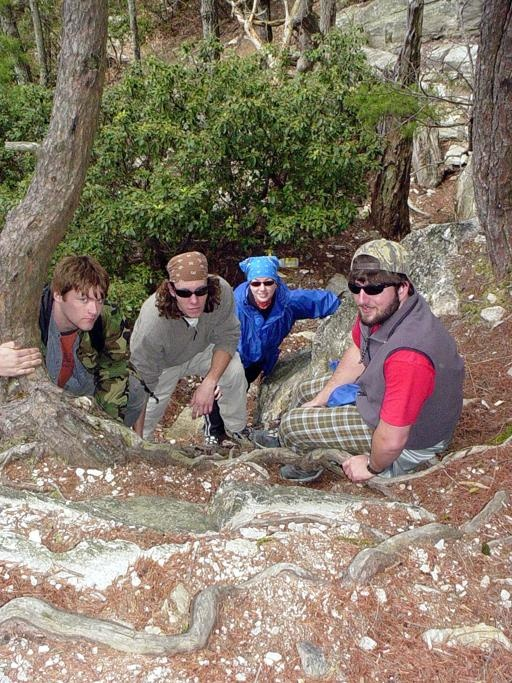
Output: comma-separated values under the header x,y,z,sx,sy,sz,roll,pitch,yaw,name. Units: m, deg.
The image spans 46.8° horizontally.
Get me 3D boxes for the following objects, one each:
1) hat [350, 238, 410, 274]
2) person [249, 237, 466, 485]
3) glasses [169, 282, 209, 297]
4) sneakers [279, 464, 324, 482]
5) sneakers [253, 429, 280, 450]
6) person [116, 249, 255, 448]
x,y,z,sx,sy,sz,roll,pitch,yaw,name
0.671,-0.435,3.225,0.270,0.156,0.195,-19,31,-32,hat
0.644,0.201,3.534,0.668,1.620,1.079,-16,28,-33,person
-0.477,-0.357,4.166,0.251,0.104,0.102,-3,23,-8,glasses
0.286,0.873,3.903,0.236,0.088,0.120,7,5,-6,sneakers
0.085,0.808,4.852,0.283,0.088,0.086,15,60,39,sneakers
-0.582,0.101,4.942,1.094,1.867,0.943,-5,41,-14,person
